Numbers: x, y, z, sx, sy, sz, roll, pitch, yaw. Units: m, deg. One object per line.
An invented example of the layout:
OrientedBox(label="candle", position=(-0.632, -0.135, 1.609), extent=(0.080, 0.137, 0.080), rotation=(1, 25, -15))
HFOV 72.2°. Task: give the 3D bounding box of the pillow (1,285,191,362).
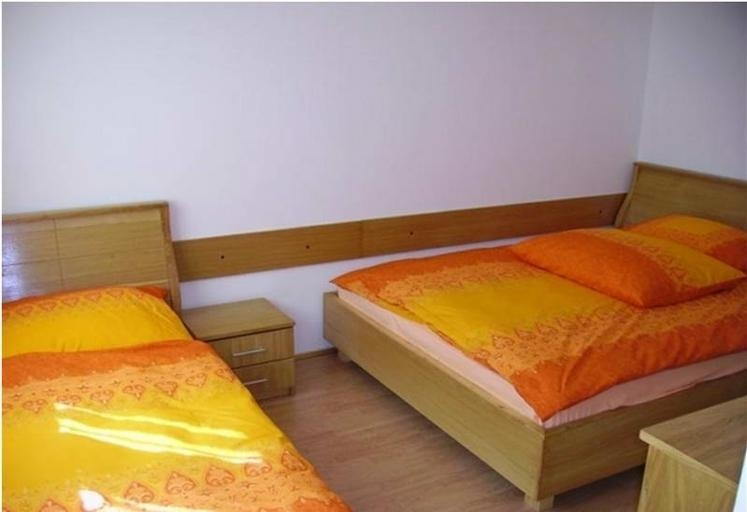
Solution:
OrientedBox(label="pillow", position=(-0.970, 0.214, 1.773), extent=(0.369, 0.080, 0.258), rotation=(-4, 20, -24))

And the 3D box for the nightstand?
OrientedBox(label="nightstand", position=(-0.601, 0.444, 2.238), extent=(0.427, 0.370, 0.300), rotation=(-10, 22, -35))
